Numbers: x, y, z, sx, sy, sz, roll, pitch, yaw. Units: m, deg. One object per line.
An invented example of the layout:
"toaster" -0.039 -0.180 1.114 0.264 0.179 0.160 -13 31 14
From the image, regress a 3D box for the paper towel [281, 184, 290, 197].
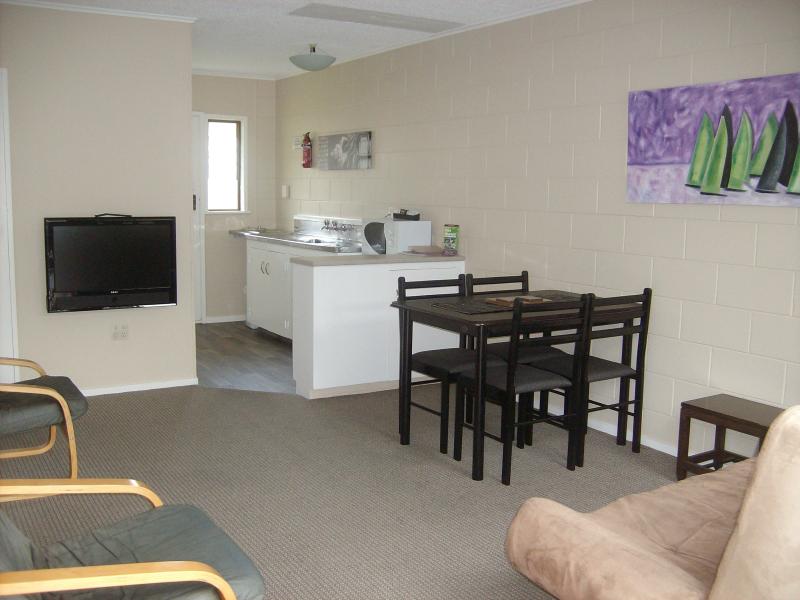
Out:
"paper towel" -1.499 -1.405 7.834 0.043 0.162 0.213 -8 12 -33

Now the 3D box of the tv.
"tv" -2.344 -0.298 4.774 0.742 0.599 0.081 -4 11 -29

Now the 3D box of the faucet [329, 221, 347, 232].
"faucet" -0.703 -0.830 6.811 0.052 0.111 0.310 -7 11 -30

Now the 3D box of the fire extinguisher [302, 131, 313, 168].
"fire extinguisher" -1.117 -1.795 7.252 0.174 0.417 0.078 8 14 41

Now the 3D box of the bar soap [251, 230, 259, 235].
"bar soap" -1.794 -0.821 7.423 0.112 0.028 0.113 11 12 43

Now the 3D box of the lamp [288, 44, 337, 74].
"lamp" -0.831 -2.178 5.578 0.428 0.255 0.433 5 10 26

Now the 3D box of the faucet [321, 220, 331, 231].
"faucet" -0.859 -0.857 7.002 0.032 0.116 0.115 1 9 -38
